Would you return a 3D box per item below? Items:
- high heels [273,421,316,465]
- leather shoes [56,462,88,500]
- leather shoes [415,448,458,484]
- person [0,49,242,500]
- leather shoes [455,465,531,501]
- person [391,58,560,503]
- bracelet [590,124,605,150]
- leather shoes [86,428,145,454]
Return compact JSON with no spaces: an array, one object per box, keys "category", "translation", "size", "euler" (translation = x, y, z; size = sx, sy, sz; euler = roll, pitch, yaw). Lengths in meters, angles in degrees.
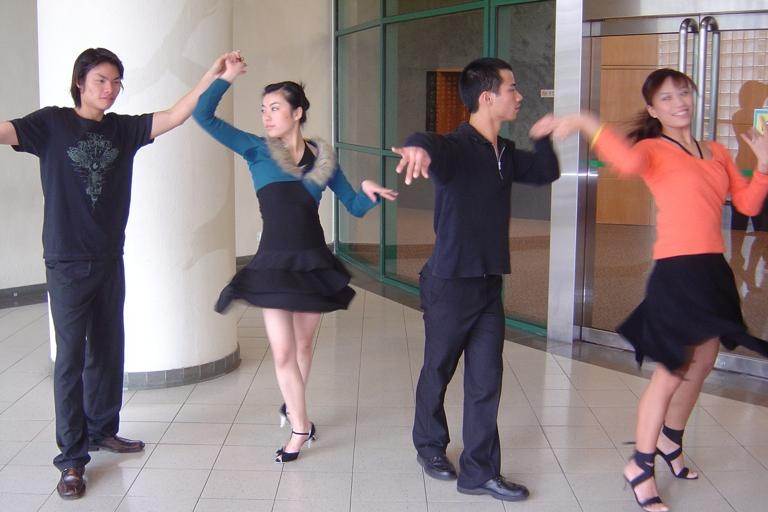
[{"category":"high heels","translation":[-0.510,1.110,3.444],"size":[0.343,0.155,0.116],"euler":[-9,6,-44]},{"category":"leather shoes","translation":[-1.709,1.203,3.141],"size":[0.143,0.114,0.305],"euler":[17,-1,-32]},{"category":"leather shoes","translation":[0.287,1.175,3.243],"size":[0.109,0.098,0.237],"euler":[-2,3,-38]},{"category":"person","translation":[-1.615,0.045,3.225],"size":[0.496,2.308,0.855],"euler":[8,15,32]},{"category":"leather shoes","translation":[0.572,1.236,3.147],"size":[0.405,0.161,0.145],"euler":[1,5,3]},{"category":"person","translation":[0.460,0.153,2.958],"size":[0.881,2.261,0.613],"euler":[-1,13,-7]},{"category":"bracelet","translation":[1.025,-0.578,2.799],"size":[0.022,0.087,0.091],"euler":[16,13,8]},{"category":"leather shoes","translation":[-1.591,1.114,3.492],"size":[0.346,0.139,0.117],"euler":[-1,3,-14]}]
